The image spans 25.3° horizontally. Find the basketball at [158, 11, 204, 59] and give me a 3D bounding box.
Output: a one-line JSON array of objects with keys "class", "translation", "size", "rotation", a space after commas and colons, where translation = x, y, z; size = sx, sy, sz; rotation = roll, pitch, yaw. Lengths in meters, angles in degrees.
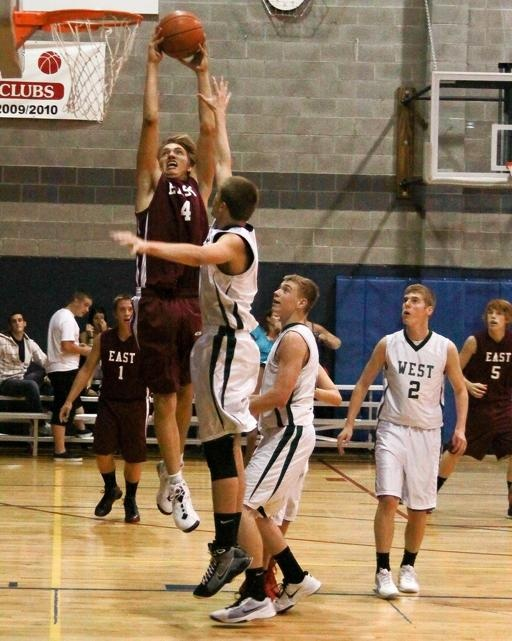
[{"class": "basketball", "translation": [-0.412, -1.640, 6.613], "size": [0.276, 0.277, 0.273], "rotation": [-3, 31, 12]}]

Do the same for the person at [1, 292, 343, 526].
[{"class": "person", "translation": [-0.712, 0.682, 8.199], "size": [2.387, 0.742, 0.548], "rotation": [-6, -30, 18]}]

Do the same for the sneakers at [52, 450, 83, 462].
[{"class": "sneakers", "translation": [-1.816, 1.298, 11.053], "size": [0.289, 0.111, 0.113], "rotation": [2, -3, -3]}]

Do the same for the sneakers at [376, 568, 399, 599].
[{"class": "sneakers", "translation": [0.766, 1.538, 6.759], "size": [0.138, 0.167, 0.223], "rotation": [1, 3, 6]}]

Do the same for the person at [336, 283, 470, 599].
[{"class": "person", "translation": [0.883, 0.696, 6.946], "size": [0.748, 1.828, 0.595], "rotation": [-2, 4, -45]}]

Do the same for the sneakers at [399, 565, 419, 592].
[{"class": "sneakers", "translation": [0.901, 1.545, 6.821], "size": [0.120, 0.146, 0.128], "rotation": [1, 3, 7]}]

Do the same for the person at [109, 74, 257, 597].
[{"class": "person", "translation": [-0.235, 0.333, 5.985], "size": [0.455, 2.209, 0.698], "rotation": [1, 3, 2]}]

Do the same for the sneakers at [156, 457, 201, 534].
[{"class": "sneakers", "translation": [-0.489, 1.024, 6.539], "size": [0.180, 0.214, 0.496], "rotation": [-36, 36, 7]}]

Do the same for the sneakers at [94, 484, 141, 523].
[{"class": "sneakers", "translation": [-0.994, 1.329, 8.464], "size": [0.304, 0.276, 0.295], "rotation": [15, 4, 2]}]
